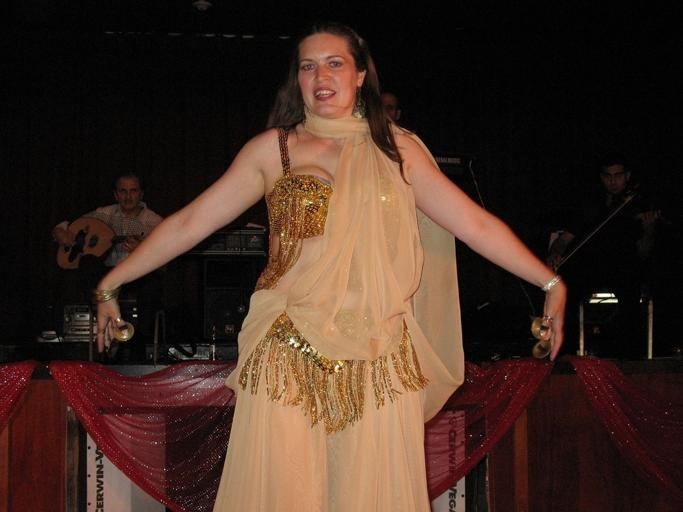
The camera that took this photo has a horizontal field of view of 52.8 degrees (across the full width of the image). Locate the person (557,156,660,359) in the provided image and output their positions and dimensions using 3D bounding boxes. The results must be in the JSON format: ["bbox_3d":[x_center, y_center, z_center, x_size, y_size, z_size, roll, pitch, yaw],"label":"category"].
[{"bbox_3d":[2.225,0.052,5.710,0.659,1.863,0.651,1,-19,20],"label":"person"}]

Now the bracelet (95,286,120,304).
[{"bbox_3d":[-0.983,0.161,2.875,0.056,0.058,0.070,-1,7,-22],"label":"bracelet"}]

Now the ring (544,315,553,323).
[{"bbox_3d":[0.862,0.262,2.864,0.021,0.029,0.030,4,-16,-11],"label":"ring"}]
